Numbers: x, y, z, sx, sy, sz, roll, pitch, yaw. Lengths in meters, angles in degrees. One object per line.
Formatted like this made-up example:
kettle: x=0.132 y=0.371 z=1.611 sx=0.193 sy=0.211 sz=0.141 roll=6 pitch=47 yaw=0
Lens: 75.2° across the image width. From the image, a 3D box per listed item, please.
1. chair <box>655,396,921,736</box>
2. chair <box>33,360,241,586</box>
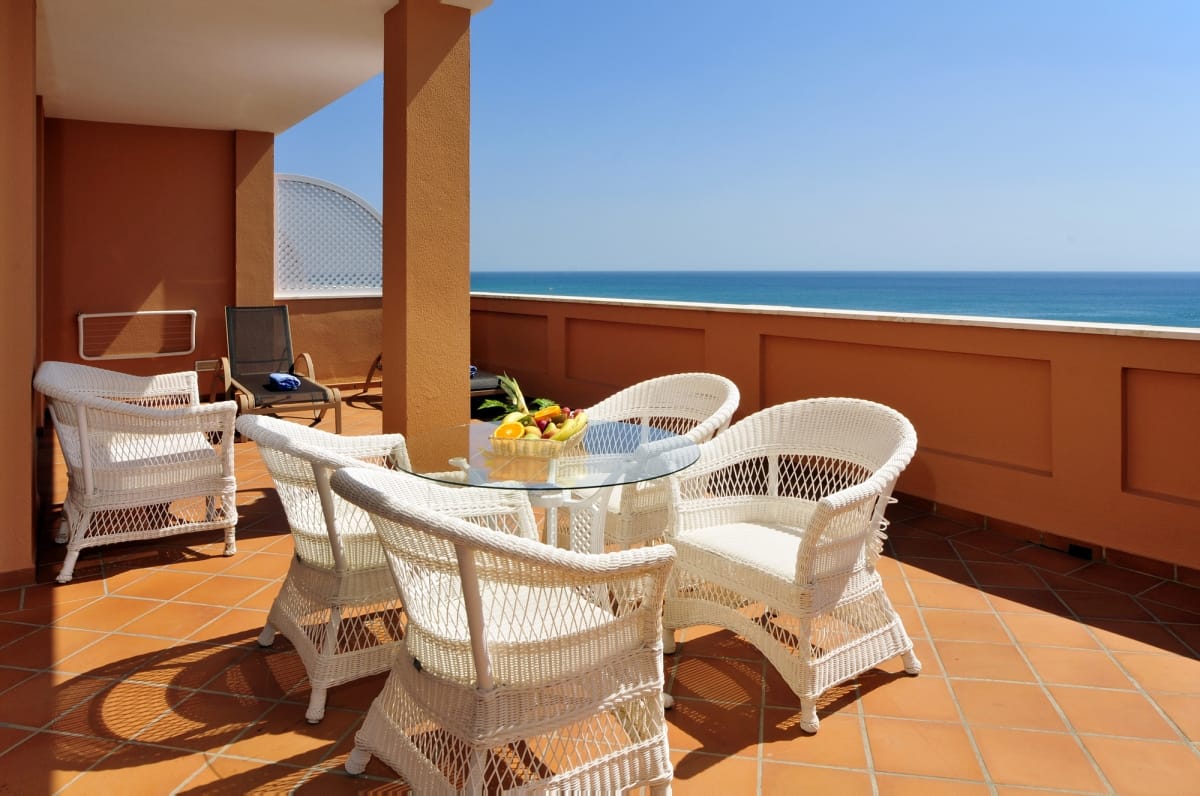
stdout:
chair: x=0.861 y=0.652 z=3.541 sx=0.982 sy=1.066 sz=1.077 roll=-8 pitch=11 yaw=-27
chair: x=-2.705 y=0.363 z=4.585 sx=0.922 sy=1.127 sz=0.890 roll=-5 pitch=10 yaw=-34
